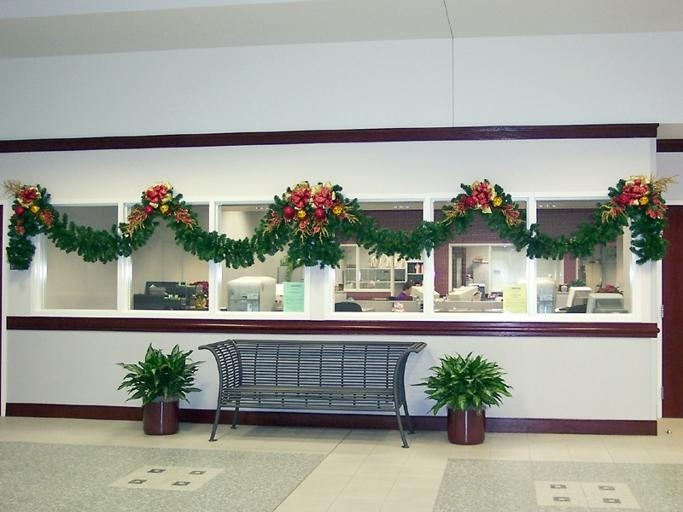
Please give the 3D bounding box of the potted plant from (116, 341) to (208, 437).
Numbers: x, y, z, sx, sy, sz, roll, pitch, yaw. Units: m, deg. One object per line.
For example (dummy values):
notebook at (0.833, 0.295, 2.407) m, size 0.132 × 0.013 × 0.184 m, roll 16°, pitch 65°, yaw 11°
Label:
potted plant at (-2.203, 1.621, 9.054) m, size 1.101 × 0.997 × 1.014 m, roll 1°, pitch -8°, yaw -11°

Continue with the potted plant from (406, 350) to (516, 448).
potted plant at (1.468, 1.694, 8.491) m, size 1.012 × 0.917 × 0.890 m, roll 4°, pitch -6°, yaw 6°
